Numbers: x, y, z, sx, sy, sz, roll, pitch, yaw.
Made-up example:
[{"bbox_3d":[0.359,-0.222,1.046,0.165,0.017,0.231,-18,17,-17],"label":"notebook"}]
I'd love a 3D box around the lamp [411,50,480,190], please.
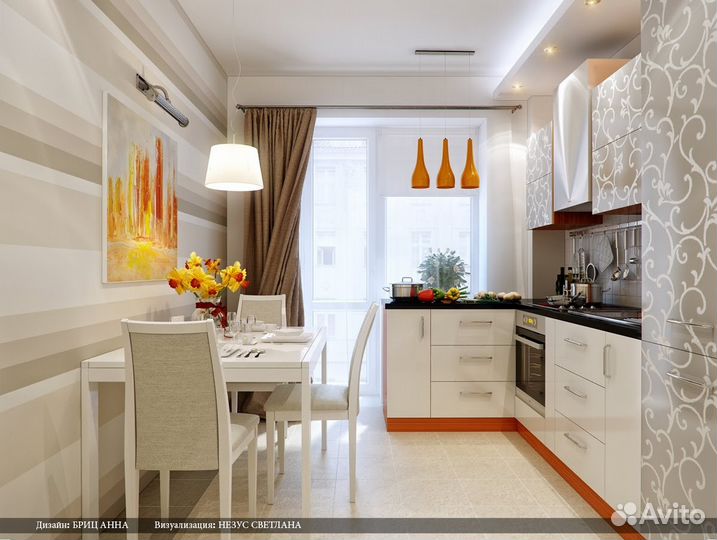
[{"bbox_3d":[0.738,-1.307,4.420,0.536,1.178,0.787,0,6,7],"label":"lamp"}]

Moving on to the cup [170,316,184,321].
[{"bbox_3d":[-1.206,0.320,3.361,0.040,0.029,0.042,0,-2,0],"label":"cup"}]

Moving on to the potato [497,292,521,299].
[{"bbox_3d":[1.256,0.207,4.227,0.176,0.054,0.177,-2,7,-7],"label":"potato"}]

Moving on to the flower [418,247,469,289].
[{"bbox_3d":[0.850,0.008,4.949,0.386,0.483,0.375,-4,-29,13],"label":"flower"}]

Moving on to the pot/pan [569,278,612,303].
[{"bbox_3d":[1.727,0.138,3.759,0.262,0.206,0.166,2,1,33],"label":"pot/pan"}]

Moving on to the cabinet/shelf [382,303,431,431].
[{"bbox_3d":[0.415,0.735,4.248,0.369,0.955,0.504,-1,3,3],"label":"cabinet/shelf"}]

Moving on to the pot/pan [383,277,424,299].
[{"bbox_3d":[0.429,0.137,4.448,0.252,0.140,0.605,0,7,8],"label":"pot/pan"}]

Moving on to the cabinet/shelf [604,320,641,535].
[{"bbox_3d":[1.409,0.821,2.706,0.080,0.943,0.349,-1,6,-3],"label":"cabinet/shelf"}]
